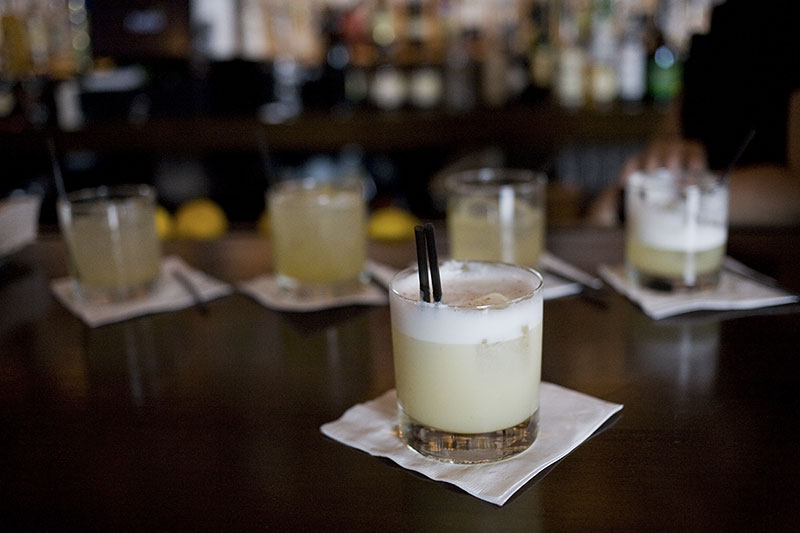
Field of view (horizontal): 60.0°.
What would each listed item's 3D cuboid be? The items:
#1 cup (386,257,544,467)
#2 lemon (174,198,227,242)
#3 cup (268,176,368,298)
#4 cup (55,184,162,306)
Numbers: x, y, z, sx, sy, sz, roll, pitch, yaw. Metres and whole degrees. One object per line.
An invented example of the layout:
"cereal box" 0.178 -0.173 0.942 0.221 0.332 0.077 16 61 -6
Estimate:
"cup" 0.087 0.127 0.957 0.246 0.245 0.229 -1 18 0
"lemon" -0.604 -0.135 2.125 0.204 0.117 0.220 0 15 -9
"cup" -0.109 -0.064 1.380 0.221 0.215 0.209 0 15 0
"cup" -0.509 -0.044 1.228 0.208 0.207 0.195 -1 11 0
